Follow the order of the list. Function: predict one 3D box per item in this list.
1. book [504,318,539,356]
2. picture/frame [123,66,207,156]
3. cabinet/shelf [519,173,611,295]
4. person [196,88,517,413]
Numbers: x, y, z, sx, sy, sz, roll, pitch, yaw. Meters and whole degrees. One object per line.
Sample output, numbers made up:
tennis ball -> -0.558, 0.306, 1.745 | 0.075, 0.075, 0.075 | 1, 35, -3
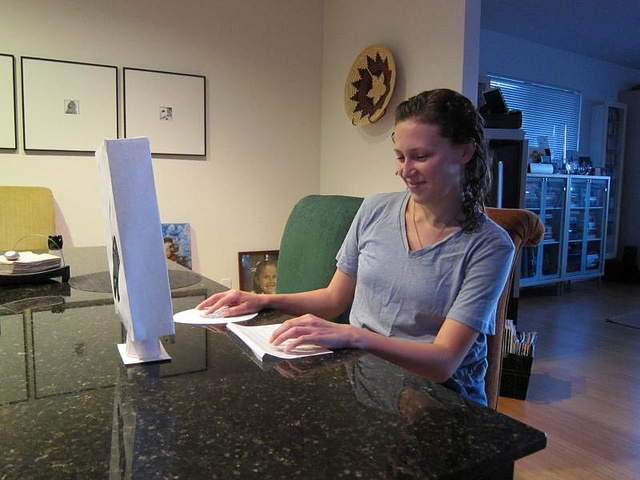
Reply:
book -> 1.199, 0.596, 2.867 | 0.180, 0.127, 0.241 | 6, 5, 35
picture/frame -> -1.202, -0.994, 3.795 | 0.690, 0.664, 0.055 | 4, 20, 0
cabinet/shelf -> 2.708, -0.084, 5.666 | 1.501, 1.332, 0.466 | -3, 7, -26
person -> 0.149, 0.040, 2.037 | 1.012, 1.610, 0.906 | -1, 6, -32
